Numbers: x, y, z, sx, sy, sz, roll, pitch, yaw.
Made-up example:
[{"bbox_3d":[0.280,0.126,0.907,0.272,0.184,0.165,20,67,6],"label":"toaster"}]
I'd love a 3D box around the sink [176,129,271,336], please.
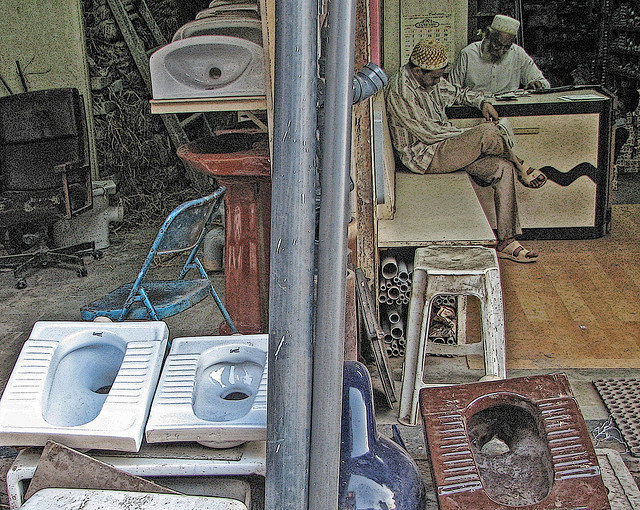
[{"bbox_3d":[-0.479,-0.108,3.617,0.483,1.154,0.699,-6,28,-5],"label":"sink"}]

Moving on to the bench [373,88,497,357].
[{"bbox_3d":[0.708,-0.204,4.087,0.617,1.093,1.717,-3,28,1],"label":"bench"}]

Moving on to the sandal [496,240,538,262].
[{"bbox_3d":[1.591,-0.023,5.182,0.327,0.136,0.128,7,20,34],"label":"sandal"}]

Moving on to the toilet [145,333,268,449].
[{"bbox_3d":[-0.346,0.523,2.399,0.521,0.211,0.534,-9,32,-2],"label":"toilet"}]

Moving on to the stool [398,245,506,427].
[{"bbox_3d":[0.635,0.465,3.365,0.590,0.718,0.539,1,0,-11],"label":"stool"}]

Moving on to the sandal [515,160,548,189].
[{"bbox_3d":[1.802,-0.691,5.576,0.334,0.131,0.091,40,13,33],"label":"sandal"}]

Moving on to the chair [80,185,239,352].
[{"bbox_3d":[-0.909,0.010,4.008,1.012,1.201,0.852,6,15,13],"label":"chair"}]

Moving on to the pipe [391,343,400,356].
[{"bbox_3d":[0.457,0.578,3.842,0.037,0.039,0.038,7,-1,1],"label":"pipe"}]

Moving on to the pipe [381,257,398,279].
[{"bbox_3d":[0.419,0.071,3.833,0.113,0.106,0.168,8,21,8],"label":"pipe"}]

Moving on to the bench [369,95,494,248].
[{"bbox_3d":[0.779,-0.576,4.555,0.520,0.450,1.284,-3,22,1],"label":"bench"}]

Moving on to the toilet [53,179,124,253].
[{"bbox_3d":[-2.147,-0.324,5.952,0.630,0.551,0.397,-9,15,-13],"label":"toilet"}]
